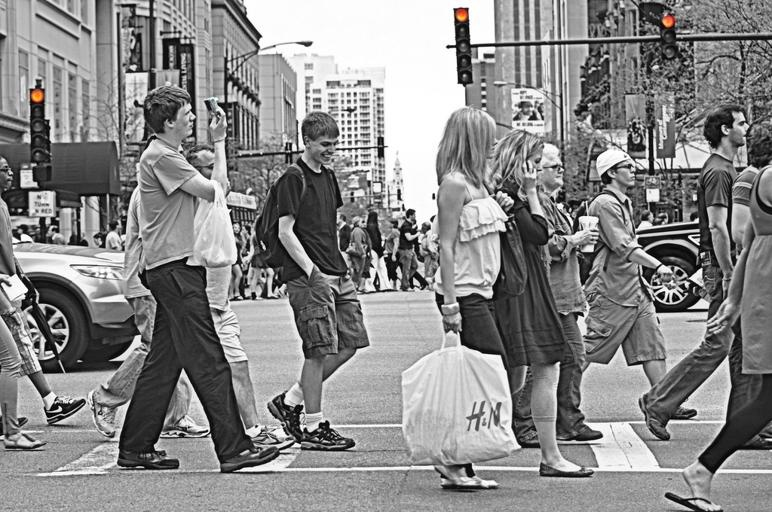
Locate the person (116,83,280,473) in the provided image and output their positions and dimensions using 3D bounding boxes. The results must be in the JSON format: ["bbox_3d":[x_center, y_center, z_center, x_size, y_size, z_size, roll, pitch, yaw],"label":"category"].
[{"bbox_3d":[-1.689,0.190,10.028,1.132,3.213,0.527,0,7,15],"label":"person"}]

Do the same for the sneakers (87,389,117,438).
[{"bbox_3d":[-2.638,1.471,11.219,0.212,0.457,0.162,-28,-8,16],"label":"sneakers"}]

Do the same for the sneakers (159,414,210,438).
[{"bbox_3d":[-1.898,1.631,11.460,0.484,0.227,0.200,-1,1,-5],"label":"sneakers"}]

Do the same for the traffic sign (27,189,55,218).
[{"bbox_3d":[-8.262,-1.287,28.877,0.677,0.642,0.222,0,-1,0],"label":"traffic sign"}]

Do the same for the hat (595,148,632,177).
[{"bbox_3d":[2.251,-0.939,11.921,0.325,0.237,0.269,-5,5,11],"label":"hat"}]

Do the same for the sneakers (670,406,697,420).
[{"bbox_3d":[2.935,1.560,11.902,0.307,0.139,0.121,-5,2,-5],"label":"sneakers"}]

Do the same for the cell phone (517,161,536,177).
[{"bbox_3d":[1.189,-0.731,10.091,0.114,0.152,0.056,3,15,6],"label":"cell phone"}]

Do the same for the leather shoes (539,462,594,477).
[{"bbox_3d":[1.474,1.746,9.836,0.425,0.127,0.153,-2,0,2],"label":"leather shoes"}]

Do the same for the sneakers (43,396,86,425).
[{"bbox_3d":[-3.146,1.515,11.748,0.453,0.213,0.154,-24,3,4],"label":"sneakers"}]

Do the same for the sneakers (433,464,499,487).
[{"bbox_3d":[0.639,1.747,9.629,0.567,0.236,0.186,-2,-5,6],"label":"sneakers"}]

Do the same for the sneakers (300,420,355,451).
[{"bbox_3d":[-0.530,1.598,10.745,0.494,0.251,0.238,-2,7,-3],"label":"sneakers"}]

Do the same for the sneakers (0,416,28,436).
[{"bbox_3d":[-3.544,1.604,11.415,0.111,0.212,0.308,3,11,15],"label":"sneakers"}]

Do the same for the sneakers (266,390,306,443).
[{"bbox_3d":[-0.886,1.466,10.943,0.273,0.557,0.186,-26,1,7],"label":"sneakers"}]

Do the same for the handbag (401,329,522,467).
[{"bbox_3d":[0.574,1.195,9.491,0.883,0.936,0.311,-1,7,3],"label":"handbag"}]

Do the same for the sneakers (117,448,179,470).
[{"bbox_3d":[-1.978,1.702,10.143,0.537,0.243,0.191,-1,0,-6],"label":"sneakers"}]

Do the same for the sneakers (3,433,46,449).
[{"bbox_3d":[-3.246,1.667,10.771,0.305,0.118,0.157,0,-1,-1],"label":"sneakers"}]

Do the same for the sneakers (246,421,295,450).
[{"bbox_3d":[-0.996,1.575,10.519,0.523,0.233,0.184,8,24,-28],"label":"sneakers"}]
